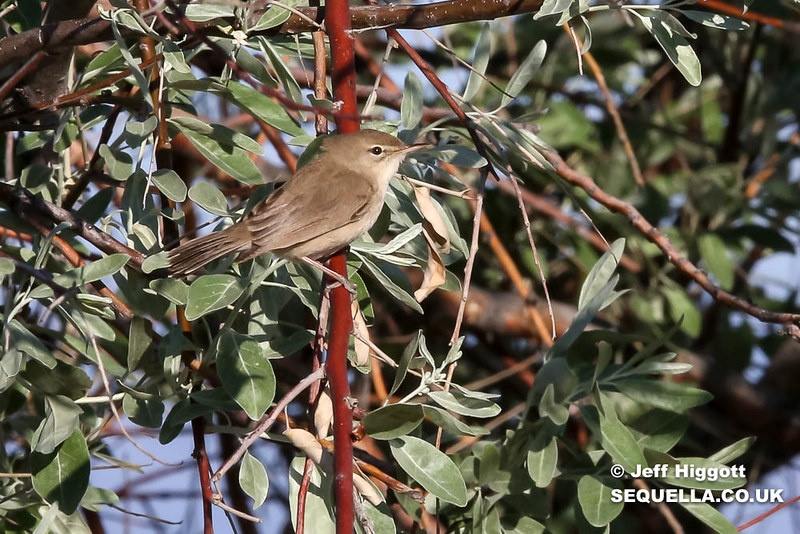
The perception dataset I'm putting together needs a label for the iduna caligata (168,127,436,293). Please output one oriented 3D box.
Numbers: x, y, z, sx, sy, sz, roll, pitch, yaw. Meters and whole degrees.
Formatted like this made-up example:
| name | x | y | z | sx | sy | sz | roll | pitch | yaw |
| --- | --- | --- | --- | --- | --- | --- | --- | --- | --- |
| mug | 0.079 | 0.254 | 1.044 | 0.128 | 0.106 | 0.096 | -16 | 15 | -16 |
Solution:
| name | x | y | z | sx | sy | sz | roll | pitch | yaw |
| --- | --- | --- | --- | --- | --- | --- | --- | --- | --- |
| iduna caligata | -0.578 | -0.281 | 4.548 | 1.141 | 0.810 | 0.428 | -1 | 11 | -22 |
